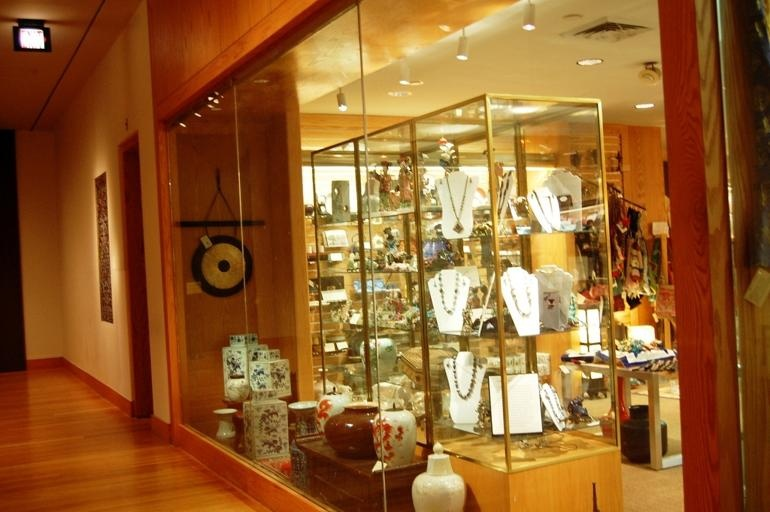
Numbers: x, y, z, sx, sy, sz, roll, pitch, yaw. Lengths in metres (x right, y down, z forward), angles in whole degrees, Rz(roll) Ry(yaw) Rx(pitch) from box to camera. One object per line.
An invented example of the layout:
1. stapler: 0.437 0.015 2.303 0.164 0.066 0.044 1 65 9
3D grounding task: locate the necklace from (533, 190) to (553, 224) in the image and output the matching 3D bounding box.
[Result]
1. necklace: 0.766 -0.239 2.957 0.163 0.192 0.020 -1 -5 -39

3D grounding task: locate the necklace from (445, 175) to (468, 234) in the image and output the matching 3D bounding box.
1. necklace: 0.353 -0.246 2.944 0.113 0.309 0.030 -5 28 0

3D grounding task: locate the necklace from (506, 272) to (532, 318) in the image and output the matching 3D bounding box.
1. necklace: 0.641 0.174 2.910 0.110 0.217 0.055 -8 4 -19

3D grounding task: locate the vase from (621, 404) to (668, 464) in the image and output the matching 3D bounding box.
1. vase: 1.593 1.087 3.779 0.286 0.324 0.288 0 -7 -5

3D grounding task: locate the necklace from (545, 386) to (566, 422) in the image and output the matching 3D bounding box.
1. necklace: 0.814 0.711 2.923 0.135 0.229 0.020 -3 -1 -22

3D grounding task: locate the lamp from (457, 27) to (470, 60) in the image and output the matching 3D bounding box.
1. lamp: 0.349 -0.940 2.731 0.055 0.131 0.120 -3 0 8

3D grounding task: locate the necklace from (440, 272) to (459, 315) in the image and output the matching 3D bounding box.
1. necklace: 0.317 0.174 2.962 0.118 0.184 0.043 0 8 24

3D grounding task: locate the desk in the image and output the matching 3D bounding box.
1. desk: 1.486 0.864 3.584 0.843 0.523 0.459 18 -15 -33

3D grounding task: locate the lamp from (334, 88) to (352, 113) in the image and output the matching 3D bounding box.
1. lamp: -0.201 -0.768 3.003 0.051 0.202 0.052 3 -29 -15
